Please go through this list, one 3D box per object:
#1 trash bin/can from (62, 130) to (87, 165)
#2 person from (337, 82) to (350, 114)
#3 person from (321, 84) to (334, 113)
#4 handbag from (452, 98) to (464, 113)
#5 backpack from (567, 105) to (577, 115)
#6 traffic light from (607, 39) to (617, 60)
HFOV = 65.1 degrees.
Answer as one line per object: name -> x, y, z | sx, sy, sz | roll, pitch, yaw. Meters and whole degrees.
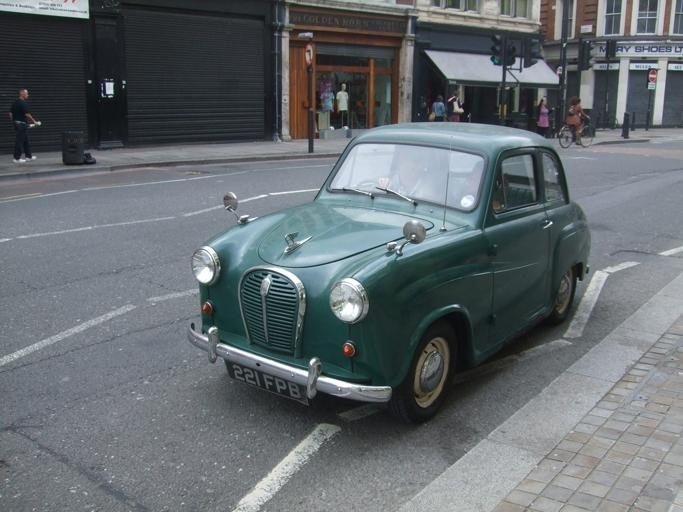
trash bin/can -> -8.885, -3.552, 17.649 | 0.629, 1.035, 0.568 | -5, 15, -22
person -> 0.043, -8.472, 28.514 | 0.343, 1.445, 0.876 | 8, 16, 30
person -> -0.729, -8.335, 27.936 | 0.445, 1.487, 0.896 | 10, 17, 35
handbag -> 6.173, -8.082, 28.673 | 0.402, 0.844, 1.615 | 2, 16, 7
backpack -> 11.573, -7.337, 26.886 | 0.459, 0.506, 0.326 | -10, 11, -44
traffic light -> 16.968, -13.132, 33.803 | 0.532, 1.269, 1.785 | 6, 16, 22
